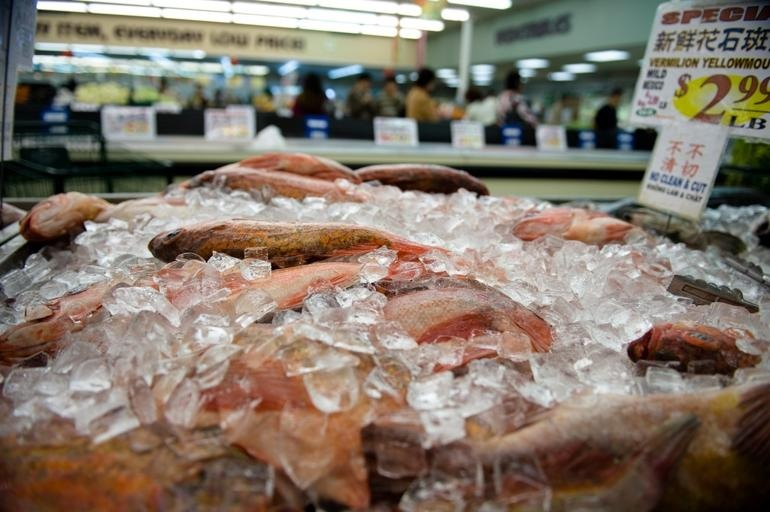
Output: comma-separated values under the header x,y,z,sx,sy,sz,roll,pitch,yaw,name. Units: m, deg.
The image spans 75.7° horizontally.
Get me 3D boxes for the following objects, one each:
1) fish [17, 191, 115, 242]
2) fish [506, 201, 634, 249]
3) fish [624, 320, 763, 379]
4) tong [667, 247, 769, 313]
x,y,z,sx,sy,sz,roll,pitch,yaw,name
-1.116,-0.140,1.759,0.152,0.095,0.275,26,29,19,fish
0.647,-0.105,1.745,0.314,0.080,0.182,5,7,3,fish
0.776,0.230,1.240,0.304,0.099,0.088,2,20,-1,fish
1.010,0.075,1.510,0.352,0.144,0.073,20,12,17,tong
